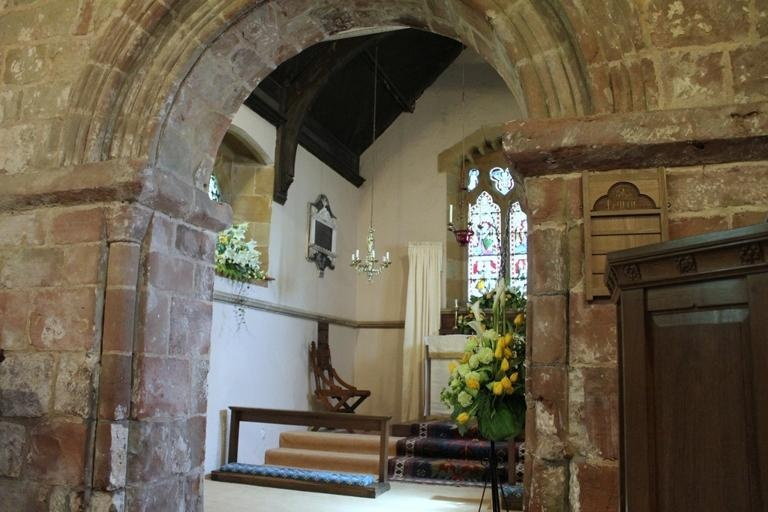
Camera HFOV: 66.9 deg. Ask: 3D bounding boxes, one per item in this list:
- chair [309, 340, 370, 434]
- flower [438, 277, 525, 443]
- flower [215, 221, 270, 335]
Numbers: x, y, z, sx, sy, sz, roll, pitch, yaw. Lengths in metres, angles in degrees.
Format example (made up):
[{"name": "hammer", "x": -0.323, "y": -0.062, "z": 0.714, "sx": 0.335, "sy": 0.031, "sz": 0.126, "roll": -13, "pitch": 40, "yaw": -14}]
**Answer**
[{"name": "chair", "x": -0.609, "y": 1.856, "z": 8.250, "sx": 0.775, "sy": 1.184, "sz": 0.695, "roll": -2, "pitch": -10, "yaw": 24}, {"name": "flower", "x": 0.544, "y": 0.560, "z": 3.036, "sx": 0.341, "sy": 0.786, "sz": 0.513, "roll": 12, "pitch": -19, "yaw": -42}, {"name": "flower", "x": -1.662, "y": 0.181, "z": 6.883, "sx": 0.467, "sy": 1.436, "sz": 1.168, "roll": 0, "pitch": -14, "yaw": -5}]
